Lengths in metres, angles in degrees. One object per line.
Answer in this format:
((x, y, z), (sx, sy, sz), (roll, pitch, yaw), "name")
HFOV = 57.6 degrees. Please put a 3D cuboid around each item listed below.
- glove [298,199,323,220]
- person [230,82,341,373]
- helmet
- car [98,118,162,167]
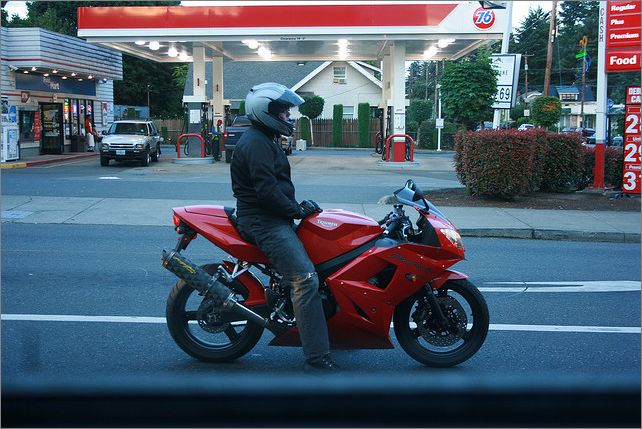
((-0.112, -0.054, 5.808), (0.220, 0.078, 0.218), (2, 13, 6), "glove")
((-0.388, 0.079, 5.634), (0.736, 2.658, 1.108), (-8, 14, -21), "person")
((-0.528, -1.093, 5.946), (0.780, 0.449, 0.480), (0, 11, -7), "helmet")
((-8.512, -3.240, 26.250), (2.117, 1.138, 3.244), (-1, 4, -1), "car")
